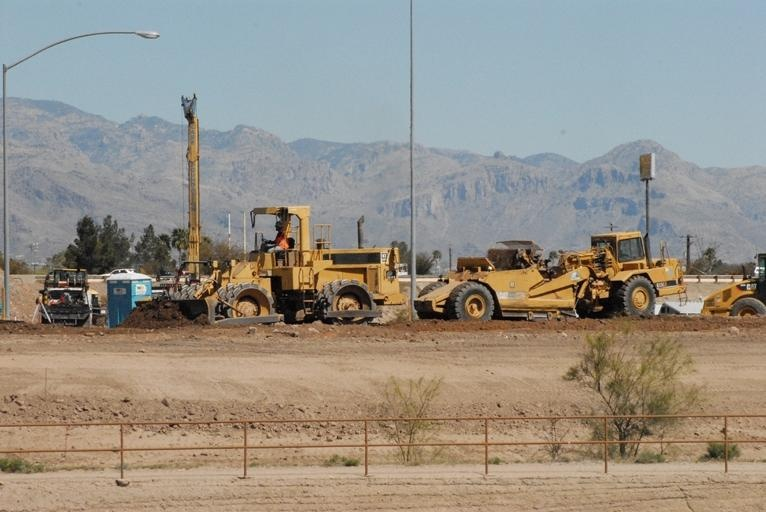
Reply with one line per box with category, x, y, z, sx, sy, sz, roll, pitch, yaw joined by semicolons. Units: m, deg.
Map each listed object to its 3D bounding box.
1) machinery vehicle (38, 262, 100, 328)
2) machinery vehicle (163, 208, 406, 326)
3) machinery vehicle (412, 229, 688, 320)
machinery vehicle;-24.213;3.285;111.826;3.505;4.836;9.488;2;7;-10
machinery vehicle;-6.450;1.113;99.237;12.844;7.427;7.445;1;-3;-17
machinery vehicle;11.626;1.728;99.908;16.694;5.983;6.612;-2;-3;-7
